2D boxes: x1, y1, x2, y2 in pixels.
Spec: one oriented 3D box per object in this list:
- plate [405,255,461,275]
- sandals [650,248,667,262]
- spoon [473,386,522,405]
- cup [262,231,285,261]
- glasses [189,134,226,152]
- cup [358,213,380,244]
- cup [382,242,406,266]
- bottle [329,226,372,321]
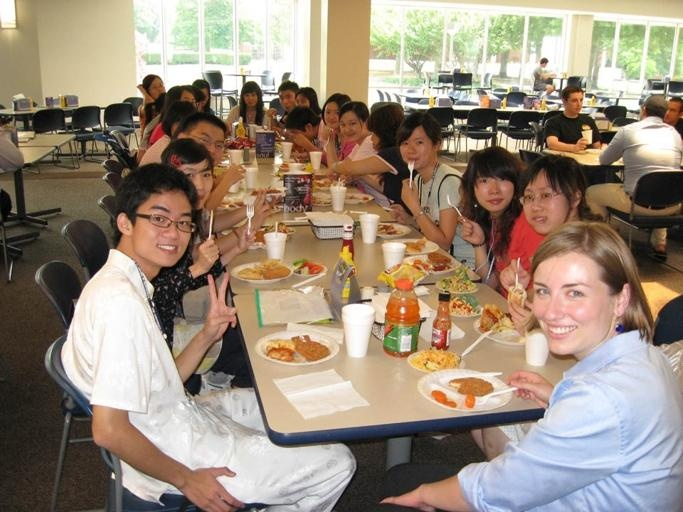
[{"bbox_3d":[0.420,0.030,2.487,0.148,0.032,0.133,-14,24,-30],"label":"plate"},{"bbox_3d":[3.045,-0.017,5.102,0.086,0.078,0.204,-1,21,2],"label":"sandals"},{"bbox_3d":[0.465,0.412,1.575,0.146,0.020,0.019,-10,43,-23],"label":"spoon"},{"bbox_3d":[-0.306,-0.052,2.533,0.126,0.122,0.121,0,16,0],"label":"cup"},{"bbox_3d":[-0.851,-0.714,3.413,0.178,0.052,0.182,35,23,28],"label":"glasses"},{"bbox_3d":[0.154,-0.156,2.901,0.152,0.156,0.146,-1,16,0],"label":"cup"},{"bbox_3d":[0.238,-0.013,2.462,0.110,0.107,0.104,2,18,-1],"label":"cup"},{"bbox_3d":[0.041,0.074,2.203,0.159,0.472,0.280,2,17,-10],"label":"bottle"}]
